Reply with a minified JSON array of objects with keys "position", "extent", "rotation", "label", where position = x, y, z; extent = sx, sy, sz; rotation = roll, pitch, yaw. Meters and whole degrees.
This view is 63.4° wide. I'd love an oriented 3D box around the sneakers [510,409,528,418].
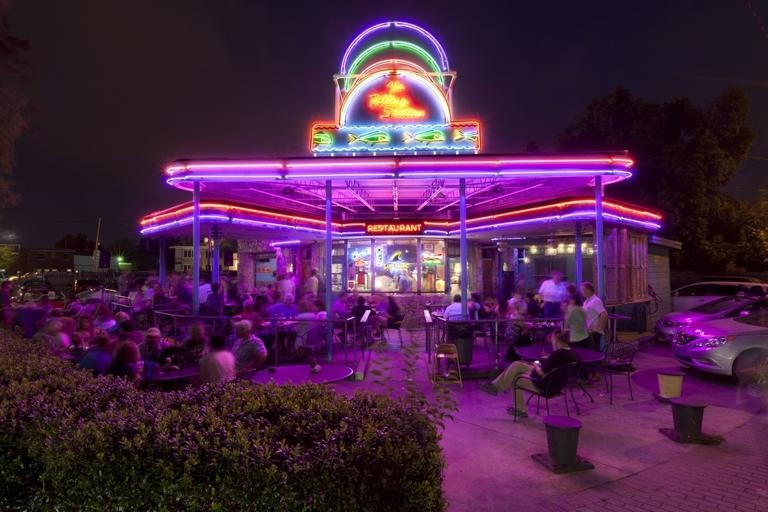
[{"position":[2.888,3.359,13.258],"extent":[0.158,0.164,0.365],"rotation":[4,3,-33],"label":"sneakers"}]
